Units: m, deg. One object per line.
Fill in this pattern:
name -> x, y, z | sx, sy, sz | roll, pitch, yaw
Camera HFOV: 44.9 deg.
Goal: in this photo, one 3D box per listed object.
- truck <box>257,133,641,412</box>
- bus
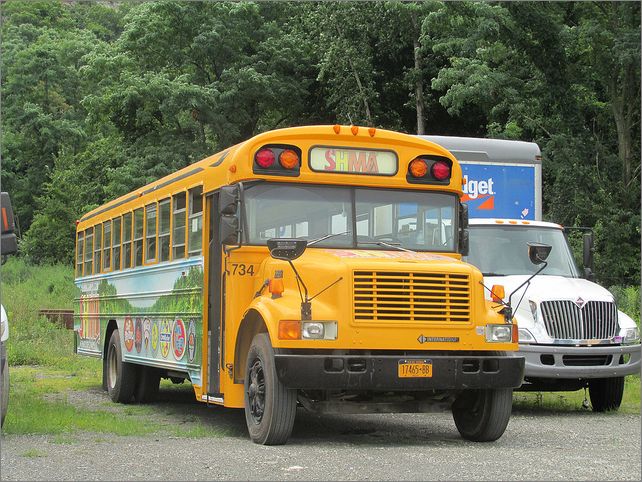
truck -> 4.097, 0.819, 16.107 | 2.457, 4.426, 7.369 | 1, -5, -13
bus -> -1.379, 0.878, 13.459 | 3.737, 4.331, 10.826 | 6, -9, -30
